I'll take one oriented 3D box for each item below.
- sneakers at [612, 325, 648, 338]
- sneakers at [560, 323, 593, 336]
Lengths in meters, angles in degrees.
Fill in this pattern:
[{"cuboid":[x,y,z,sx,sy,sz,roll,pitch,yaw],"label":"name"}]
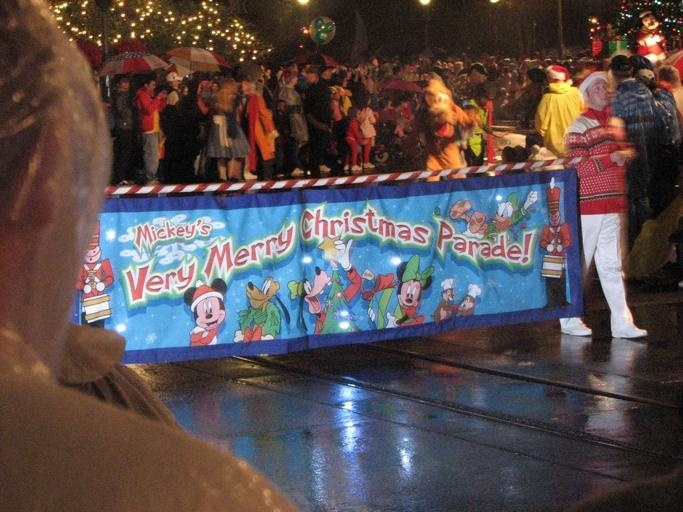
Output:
[{"cuboid":[2.930,0.778,7.301,0.295,0.130,0.158,-3,0,28],"label":"sneakers"},{"cuboid":[2.456,0.763,7.486,0.243,0.106,0.130,-2,-2,26],"label":"sneakers"}]
